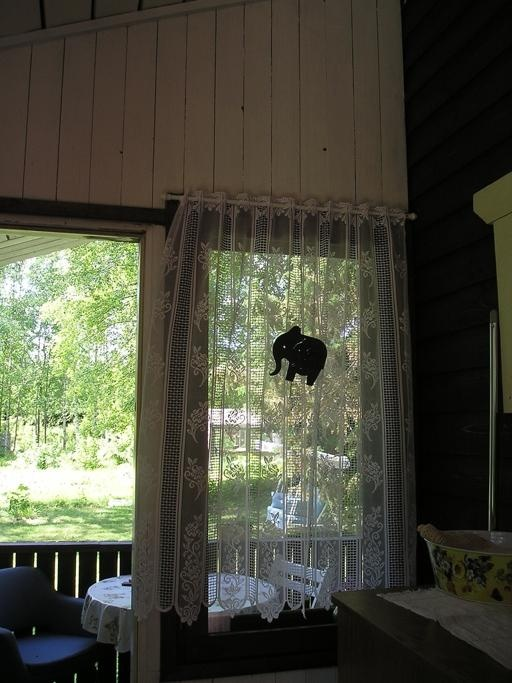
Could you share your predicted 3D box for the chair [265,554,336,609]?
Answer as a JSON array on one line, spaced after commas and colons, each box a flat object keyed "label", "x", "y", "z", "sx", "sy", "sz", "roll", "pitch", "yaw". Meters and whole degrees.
[{"label": "chair", "x": 0.155, "y": 0.839, "z": 2.089, "sx": 0.190, "sy": 0.237, "sz": 0.138, "roll": 10, "pitch": -4, "yaw": -13}]
